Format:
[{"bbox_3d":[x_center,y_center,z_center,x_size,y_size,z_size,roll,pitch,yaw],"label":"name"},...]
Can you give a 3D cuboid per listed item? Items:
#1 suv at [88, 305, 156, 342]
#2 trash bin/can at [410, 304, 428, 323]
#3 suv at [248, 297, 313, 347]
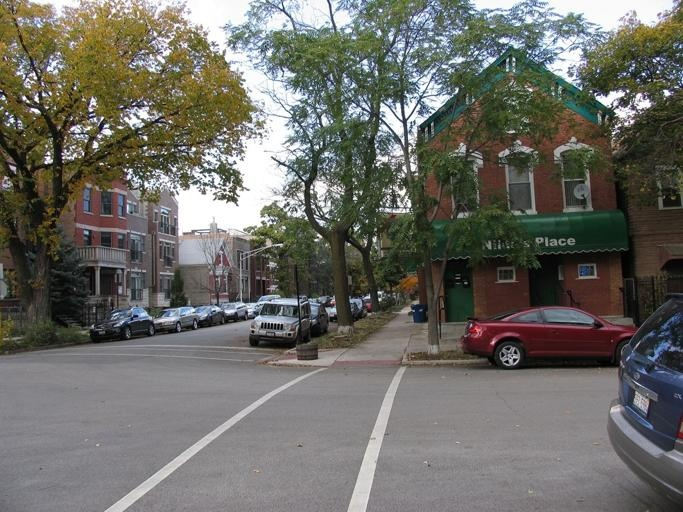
[{"bbox_3d":[-12.053,3.747,31.776,1.325,1.191,3.086,-5,-10,10],"label":"suv"},{"bbox_3d":[4.190,3.038,31.249,0.870,0.863,0.997,0,-10,-2],"label":"trash bin/can"},{"bbox_3d":[-2.400,2.923,25.402,1.658,1.539,3.059,-2,-10,11],"label":"suv"}]
